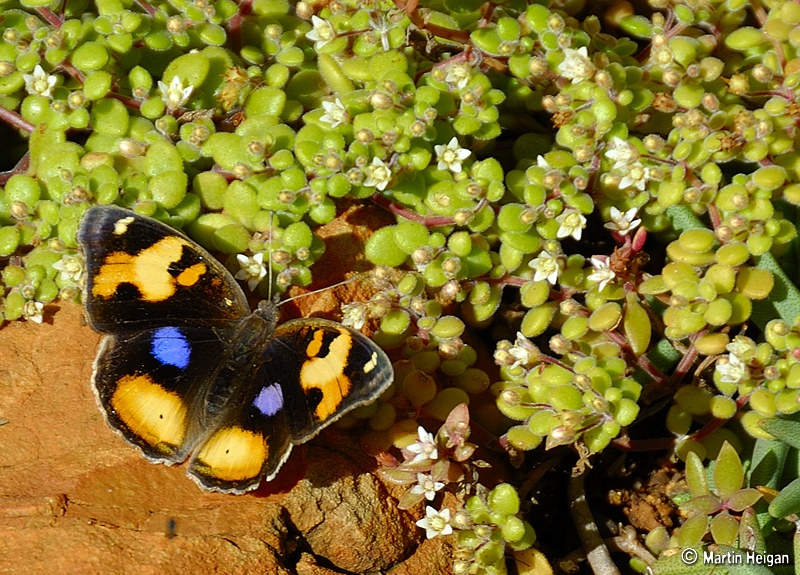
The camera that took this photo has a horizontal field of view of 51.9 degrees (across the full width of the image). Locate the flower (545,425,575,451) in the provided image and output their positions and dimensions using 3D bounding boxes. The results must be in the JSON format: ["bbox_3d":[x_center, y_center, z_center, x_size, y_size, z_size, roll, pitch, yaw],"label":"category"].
[{"bbox_3d":[0.614,0.602,3.300,0.098,0.141,0.037,42,26,-29],"label":"flower"}]

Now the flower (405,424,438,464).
[{"bbox_3d":[0.088,0.658,3.391,0.108,0.170,0.145,-9,62,-18],"label":"flower"}]

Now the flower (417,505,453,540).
[{"bbox_3d":[0.156,0.961,3.387,0.161,0.144,0.121,15,45,-8],"label":"flower"}]
